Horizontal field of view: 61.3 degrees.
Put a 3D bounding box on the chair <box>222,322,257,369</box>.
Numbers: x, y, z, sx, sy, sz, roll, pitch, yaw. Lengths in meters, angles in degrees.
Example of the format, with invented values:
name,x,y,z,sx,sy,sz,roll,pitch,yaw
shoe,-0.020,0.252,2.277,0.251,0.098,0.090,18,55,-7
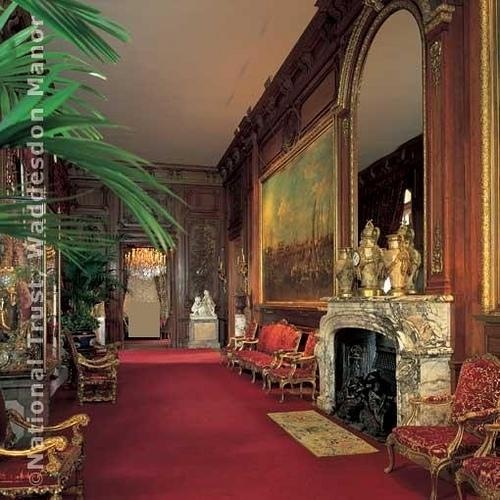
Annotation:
name,x,y,z,sx,sy,sz,roll,pitch,yaw
chair,-0.186,2.050,9.306,0.741,0.948,0.756,-2,-4,21

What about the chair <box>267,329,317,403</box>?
name,x,y,z,sx,sy,sz,roll,pitch,yaw
chair,0.613,1.757,6.405,0.740,0.978,0.778,-2,-7,26

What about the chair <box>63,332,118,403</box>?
name,x,y,z,sx,sy,sz,roll,pitch,yaw
chair,-2.478,1.809,6.774,0.791,1.039,1.603,4,-6,-17

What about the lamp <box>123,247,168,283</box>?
name,x,y,z,sx,sy,sz,roll,pitch,yaw
lamp,-3.793,0.521,15.677,1.382,1.051,1.389,-2,3,-35

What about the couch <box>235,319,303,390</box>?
name,x,y,z,sx,sy,sz,roll,pitch,yaw
couch,0.281,1.823,7.716,0.703,1.203,1.783,5,-6,-22
